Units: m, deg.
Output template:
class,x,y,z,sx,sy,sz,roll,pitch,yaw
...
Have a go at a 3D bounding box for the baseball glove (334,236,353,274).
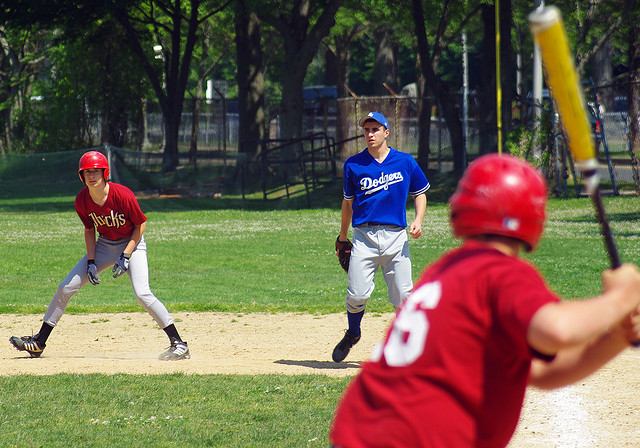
class,x,y,z,sx,sy,sz,roll,pitch,yaw
baseball glove,0.441,0.605,24.800,0.519,0.715,0.256,-4,-5,-1
